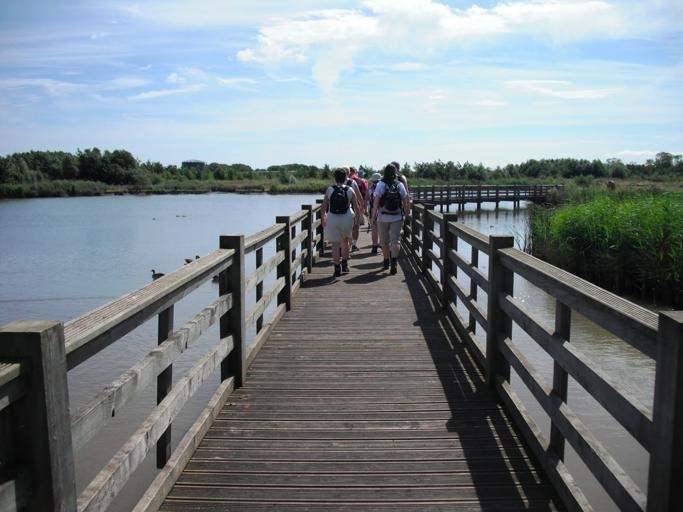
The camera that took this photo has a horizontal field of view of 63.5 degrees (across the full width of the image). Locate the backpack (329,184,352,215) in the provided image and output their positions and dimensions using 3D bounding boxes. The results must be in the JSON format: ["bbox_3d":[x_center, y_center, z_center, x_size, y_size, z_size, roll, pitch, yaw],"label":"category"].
[{"bbox_3d":[0.018,-0.884,8.645,0.404,0.644,0.362,1,4,2],"label":"backpack"}]

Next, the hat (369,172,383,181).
[{"bbox_3d":[0.746,-1.573,10.884,0.334,0.194,0.242,-12,15,-31],"label":"hat"}]

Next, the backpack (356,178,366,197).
[{"bbox_3d":[0.474,-1.575,12.153,0.205,0.336,0.315,-1,-17,-4],"label":"backpack"}]

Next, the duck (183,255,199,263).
[{"bbox_3d":[-4.231,0.062,15.416,0.149,0.185,0.478,21,12,1],"label":"duck"}]

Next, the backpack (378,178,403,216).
[{"bbox_3d":[0.797,-0.987,8.865,0.329,0.527,0.483,-1,9,-7],"label":"backpack"}]

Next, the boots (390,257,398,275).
[{"bbox_3d":[0.905,0.172,9.508,0.090,0.213,0.289,0,-3,3],"label":"boots"}]
